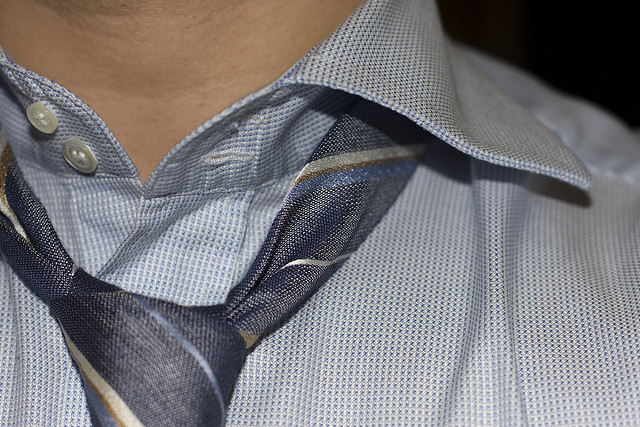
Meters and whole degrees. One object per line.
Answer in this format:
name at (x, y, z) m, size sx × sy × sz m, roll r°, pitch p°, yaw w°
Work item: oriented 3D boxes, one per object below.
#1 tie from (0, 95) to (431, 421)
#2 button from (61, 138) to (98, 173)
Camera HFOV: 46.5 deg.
tie at (-0.101, 0.083, 0.715) m, size 0.409 × 0.174 × 0.298 m, roll 2°, pitch 43°, yaw 5°
button at (-0.231, -0.057, 0.719) m, size 0.023 × 0.023 × 0.008 m, roll 36°, pitch 48°, yaw 3°
